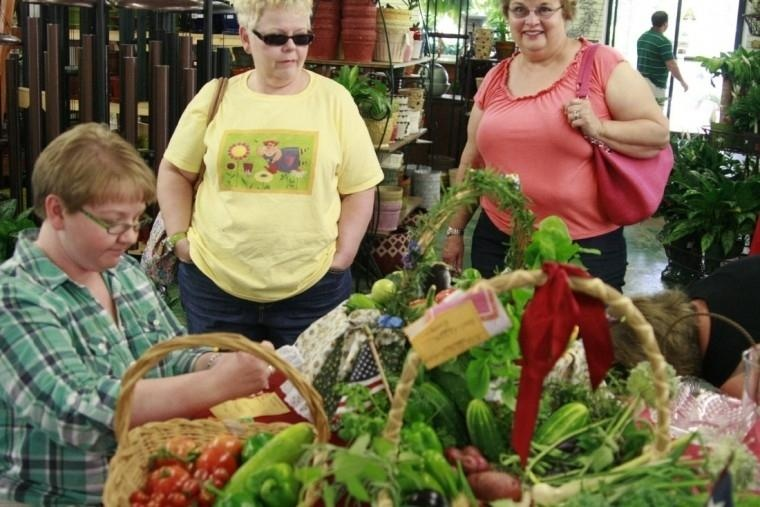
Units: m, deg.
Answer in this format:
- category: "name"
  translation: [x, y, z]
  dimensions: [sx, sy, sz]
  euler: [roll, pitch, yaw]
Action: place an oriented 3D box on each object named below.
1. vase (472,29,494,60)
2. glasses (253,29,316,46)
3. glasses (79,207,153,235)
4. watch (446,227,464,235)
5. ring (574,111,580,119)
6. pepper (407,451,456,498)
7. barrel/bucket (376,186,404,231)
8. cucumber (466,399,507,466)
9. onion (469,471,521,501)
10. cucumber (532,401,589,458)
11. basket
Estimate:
- category: "vase"
  translation: [1.311, -2.775, 7.362]
  dimensions: [0.363, 0.420, 0.364]
  euler: [1, 20, 9]
- category: "glasses"
  translation: [-0.382, -0.831, 2.150]
  dimensions: [0.232, 0.061, 0.059]
  euler: [-2, 12, -14]
- category: "glasses"
  translation: [-0.759, -0.090, 1.553]
  dimensions: [0.087, 0.025, 0.086]
  euler: [34, 17, 9]
- category: "watch"
  translation: [0.323, -0.097, 2.474]
  dimensions: [0.060, 0.041, 0.056]
  euler: [1, 2, 4]
- category: "ring"
  translation: [0.752, -0.531, 2.117]
  dimensions: [0.025, 0.025, 0.007]
  euler: [-6, 2, 5]
- category: "pepper"
  translation: [0.106, 0.478, 1.240]
  dimensions: [0.059, 0.049, 0.108]
  euler: [-11, 49, -34]
- category: "barrel/bucket"
  translation: [0.041, -0.343, 4.174]
  dimensions: [0.252, 0.277, 0.241]
  euler: [5, 15, -1]
- category: "cucumber"
  translation: [0.250, 0.425, 1.370]
  dimensions: [0.076, 0.157, 0.062]
  euler: [-27, -9, 20]
- category: "onion"
  translation: [0.258, 0.525, 1.253]
  dimensions: [0.109, 0.056, 0.054]
  euler: [3, -10, 12]
- category: "cucumber"
  translation: [0.455, 0.428, 1.383]
  dimensions: [0.163, 0.077, 0.063]
  euler: [-33, -6, -14]
- category: "basket"
  translation: [-0.378, 0.337, 1.487]
  dimensions: [0.522, 0.487, 0.394]
  euler: [2, 20, -9]
